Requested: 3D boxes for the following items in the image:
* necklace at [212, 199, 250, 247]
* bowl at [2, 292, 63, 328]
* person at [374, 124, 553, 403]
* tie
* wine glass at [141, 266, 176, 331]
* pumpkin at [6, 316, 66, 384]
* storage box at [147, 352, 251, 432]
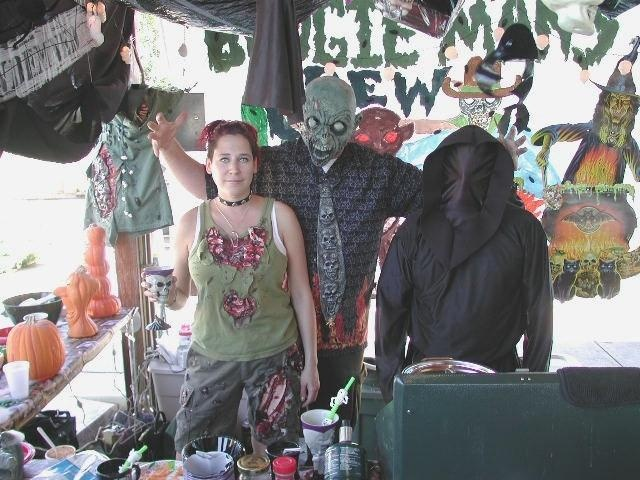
[{"bbox_3d":[-0.381,-0.086,2.301,0.098,0.203,0.127,-1,17,-15],"label":"necklace"},{"bbox_3d":[-1.450,0.308,2.728,0.276,0.157,0.216,-6,12,-28],"label":"bowl"},{"bbox_3d":[0.622,0.152,2.386,0.708,1.441,0.360,2,22,14],"label":"person"},{"bbox_3d":[0.024,0.077,2.498,0.131,0.611,0.135,-3,17,-19],"label":"tie"},{"bbox_3d":[-0.694,0.278,2.309,0.153,0.321,0.157,-9,18,-28],"label":"wine glass"},{"bbox_3d":[-1.256,0.449,2.440,0.227,0.275,0.231,10,18,11],"label":"pumpkin"},{"bbox_3d":[-0.743,0.847,3.267,0.602,0.485,0.557,-3,13,-19],"label":"storage box"}]
